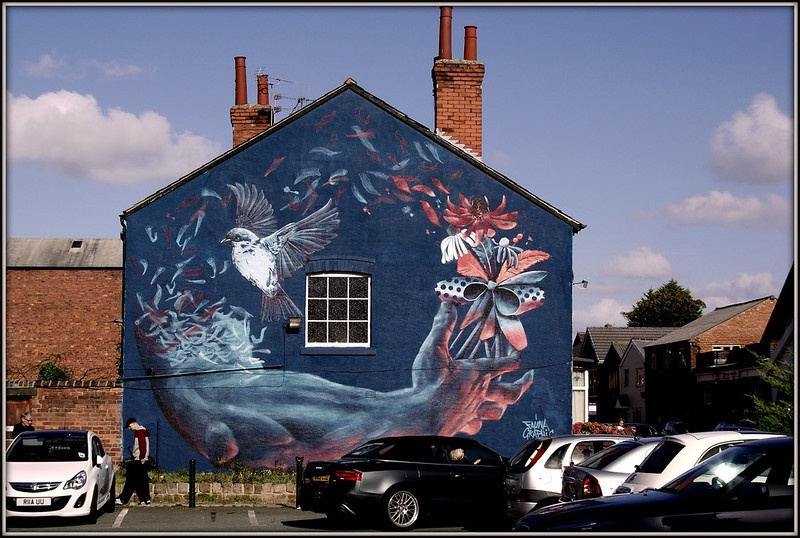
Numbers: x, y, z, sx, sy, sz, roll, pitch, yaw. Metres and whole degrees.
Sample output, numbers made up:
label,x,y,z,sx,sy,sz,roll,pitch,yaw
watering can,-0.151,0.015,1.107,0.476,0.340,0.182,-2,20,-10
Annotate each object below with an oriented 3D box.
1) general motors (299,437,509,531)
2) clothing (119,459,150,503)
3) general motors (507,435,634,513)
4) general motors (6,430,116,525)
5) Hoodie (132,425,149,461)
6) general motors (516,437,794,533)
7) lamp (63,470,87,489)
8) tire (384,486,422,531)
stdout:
label,x,y,z,sx,sy,sz,roll,pitch,yaw
general motors,0.150,5.095,32.203,4.945,1.398,2.149,1,-7,-19
clothing,-6.869,5.514,34.764,1.181,1.265,0.568,4,-4,-11
general motors,3.927,4.774,31.872,2.872,1.260,1.609,-2,-3,-10
general motors,-8.307,4.985,32.056,2.185,2.036,1.311,2,-9,-16
Hoodie,-6.810,4.555,35.092,0.518,0.848,0.704,5,-31,-15
general motors,5.117,4.356,27.133,5.616,1.831,1.234,-1,-9,5
lamp,-7.669,4.970,31.657,0.189,0.418,0.515,-8,-12,42
tire,0.006,5.597,31.439,1.086,1.077,0.398,2,-13,-24
